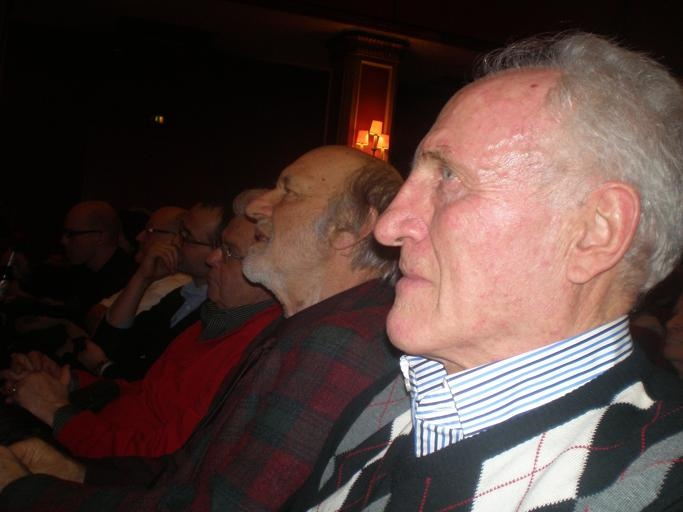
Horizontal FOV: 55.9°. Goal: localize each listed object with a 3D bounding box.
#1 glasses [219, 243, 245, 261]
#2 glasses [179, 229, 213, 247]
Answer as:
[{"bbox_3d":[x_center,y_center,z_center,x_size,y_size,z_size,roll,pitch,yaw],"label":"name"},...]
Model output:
[{"bbox_3d":[-0.492,-0.013,2.807,0.113,0.035,0.092,19,2,-40],"label":"glasses"},{"bbox_3d":[-0.806,-0.077,3.601,0.147,0.041,0.133,5,9,-21],"label":"glasses"}]
